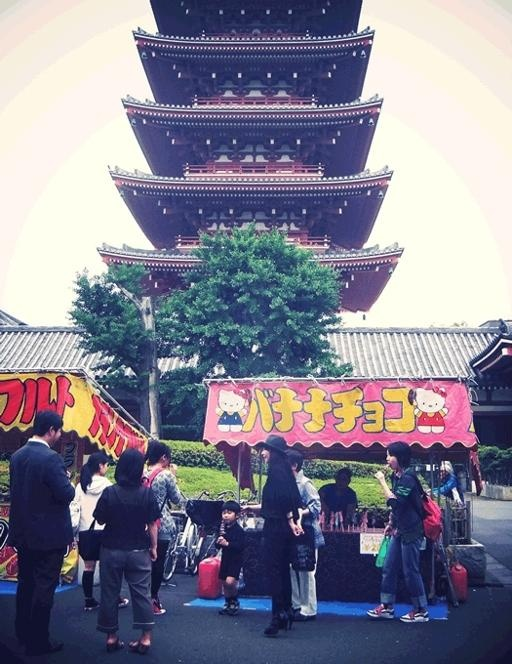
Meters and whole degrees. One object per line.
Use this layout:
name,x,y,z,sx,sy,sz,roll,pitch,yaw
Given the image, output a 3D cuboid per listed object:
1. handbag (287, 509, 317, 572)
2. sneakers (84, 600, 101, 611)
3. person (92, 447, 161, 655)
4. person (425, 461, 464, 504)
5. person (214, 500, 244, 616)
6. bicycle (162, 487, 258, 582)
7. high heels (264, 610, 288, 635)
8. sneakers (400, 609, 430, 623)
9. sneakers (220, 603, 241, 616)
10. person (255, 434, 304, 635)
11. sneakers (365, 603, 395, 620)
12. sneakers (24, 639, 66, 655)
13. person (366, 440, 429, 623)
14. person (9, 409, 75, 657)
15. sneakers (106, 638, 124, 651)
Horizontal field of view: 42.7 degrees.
handbag,0.464,2.033,6.298,0.279,0.451,0.422,1,-8,5
sneakers,-1.665,2.767,6.670,0.074,0.129,0.191,1,-9,9
person,-1.045,1.748,5.263,0.518,1.556,0.363,8,-19,-20
person,2.931,2.405,10.034,0.455,0.790,0.343,-7,8,-4
person,-0.271,2.410,7.070,0.282,1.137,0.504,1,-18,-2
bicycle,-0.821,3.148,10.313,1.119,1.505,2.536,-8,-12,22
high heels,0.203,2.615,5.890,0.335,0.191,0.111,7,-12,-35
sneakers,1.565,2.809,6.481,0.301,0.144,0.115,2,-23,1
sneakers,-0.250,2.864,6.773,0.264,0.118,0.090,2,-22,-3
person,0.247,1.864,6.132,0.403,1.795,0.341,6,-18,-16
sneakers,1.264,2.840,6.669,0.305,0.153,0.122,4,-24,0
sneakers,-1.658,2.497,5.204,0.289,0.108,0.133,12,-22,-32
person,1.446,2.042,6.773,0.614,1.742,0.980,-2,-18,8
person,-1.779,1.600,5.376,0.547,1.913,0.447,5,-18,-13
sneakers,-1.132,2.532,5.348,0.065,0.077,0.183,0,-11,13
